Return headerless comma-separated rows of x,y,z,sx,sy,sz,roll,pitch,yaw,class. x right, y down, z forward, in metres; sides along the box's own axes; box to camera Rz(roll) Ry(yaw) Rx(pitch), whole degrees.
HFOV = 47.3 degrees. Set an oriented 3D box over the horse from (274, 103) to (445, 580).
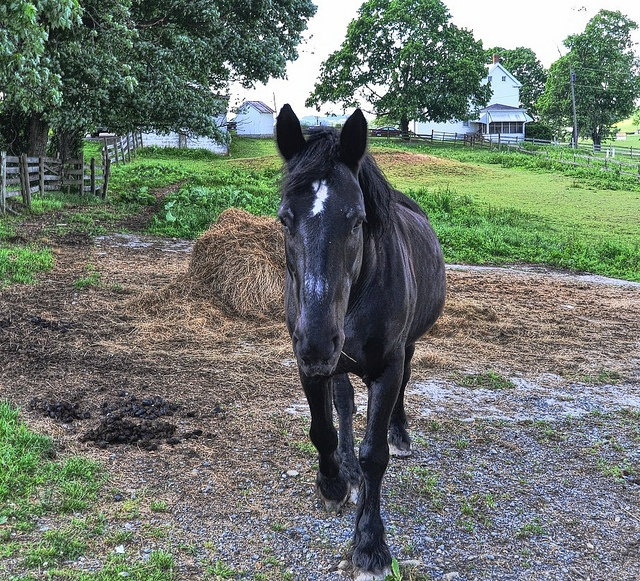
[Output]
0.338,0.317,6.031,1.055,3.489,2.200,6,8,22,horse
